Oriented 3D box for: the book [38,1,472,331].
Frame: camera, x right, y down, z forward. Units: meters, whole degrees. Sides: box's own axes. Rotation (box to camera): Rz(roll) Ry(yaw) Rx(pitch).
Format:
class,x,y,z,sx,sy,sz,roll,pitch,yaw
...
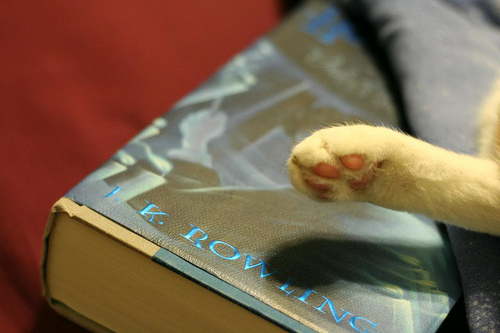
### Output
class,x,y,z,sx,sy,sz,roll,pitch,yaw
book,-0.009,0.040,0.800,0.589,0.230,0.548,-8,47,-19
